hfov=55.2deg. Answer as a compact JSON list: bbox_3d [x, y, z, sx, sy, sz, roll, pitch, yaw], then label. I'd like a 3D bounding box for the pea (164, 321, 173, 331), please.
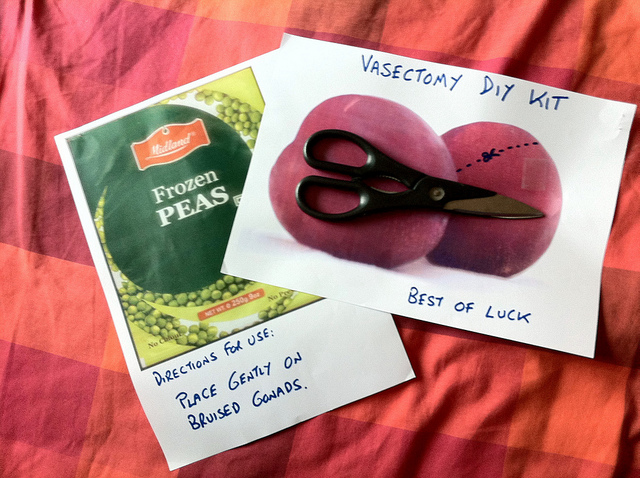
[{"bbox_3d":[-0.177,0.100,0.710,0.010,0.005,0.008,2,89,2],"label":"pea"}]

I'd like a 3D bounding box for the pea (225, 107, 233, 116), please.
[{"bbox_3d":[-0.110,-0.152,0.732,0.011,0.005,0.008,0,91,-1],"label":"pea"}]

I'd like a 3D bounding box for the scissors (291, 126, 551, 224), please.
[{"bbox_3d":[0.118,-0.074,0.703,0.291,0.023,0.116,1,82,1],"label":"scissors"}]

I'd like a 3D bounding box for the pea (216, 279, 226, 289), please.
[{"bbox_3d":[-0.116,0.052,0.712,0.012,0.011,0.011,-6,86,38],"label":"pea"}]

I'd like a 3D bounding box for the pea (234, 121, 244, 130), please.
[{"bbox_3d":[-0.099,-0.135,0.733,0.010,0.006,0.009,-4,91,-3],"label":"pea"}]

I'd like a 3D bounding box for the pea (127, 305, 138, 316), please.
[{"bbox_3d":[-0.219,0.082,0.713,0.011,0.010,0.010,-11,83,-22],"label":"pea"}]

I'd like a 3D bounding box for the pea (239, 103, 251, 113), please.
[{"bbox_3d":[-0.091,-0.157,0.732,0.011,0.013,0.009,-4,94,-12],"label":"pea"}]

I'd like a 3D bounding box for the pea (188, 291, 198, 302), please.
[{"bbox_3d":[-0.150,0.066,0.711,0.010,0.006,0.010,2,96,-7],"label":"pea"}]

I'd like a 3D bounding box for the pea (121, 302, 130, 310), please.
[{"bbox_3d":[-0.229,0.077,0.717,0.010,0.008,0.007,-9,60,-21],"label":"pea"}]

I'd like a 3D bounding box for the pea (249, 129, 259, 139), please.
[{"bbox_3d":[-0.080,-0.125,0.730,0.013,0.006,0.010,-3,84,12],"label":"pea"}]

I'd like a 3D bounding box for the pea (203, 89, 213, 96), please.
[{"bbox_3d":[-0.136,-0.175,0.735,0.010,0.004,0.008,4,84,7],"label":"pea"}]

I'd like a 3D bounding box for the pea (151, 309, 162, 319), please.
[{"bbox_3d":[-0.191,0.086,0.713,0.011,0.011,0.009,8,88,-37],"label":"pea"}]

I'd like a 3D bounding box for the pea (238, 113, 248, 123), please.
[{"bbox_3d":[-0.093,-0.145,0.732,0.011,0.006,0.009,-3,92,5],"label":"pea"}]

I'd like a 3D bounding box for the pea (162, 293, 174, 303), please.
[{"bbox_3d":[-0.178,0.067,0.715,0.011,0.011,0.011,-29,61,38],"label":"pea"}]

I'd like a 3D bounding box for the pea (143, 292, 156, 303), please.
[{"bbox_3d":[-0.199,0.067,0.716,0.011,0.010,0.011,-12,97,-2],"label":"pea"}]

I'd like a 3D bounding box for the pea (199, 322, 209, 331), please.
[{"bbox_3d":[-0.135,0.101,0.709,0.010,0.009,0.007,-14,81,21],"label":"pea"}]

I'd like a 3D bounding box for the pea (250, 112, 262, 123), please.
[{"bbox_3d":[-0.077,-0.145,0.733,0.013,0.007,0.010,-39,82,11],"label":"pea"}]

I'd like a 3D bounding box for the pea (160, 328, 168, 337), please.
[{"bbox_3d":[-0.182,0.107,0.711,0.008,0.005,0.009,-31,101,3],"label":"pea"}]

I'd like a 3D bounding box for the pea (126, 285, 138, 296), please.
[{"bbox_3d":[-0.220,0.059,0.716,0.013,0.009,0.008,17,92,-2],"label":"pea"}]
